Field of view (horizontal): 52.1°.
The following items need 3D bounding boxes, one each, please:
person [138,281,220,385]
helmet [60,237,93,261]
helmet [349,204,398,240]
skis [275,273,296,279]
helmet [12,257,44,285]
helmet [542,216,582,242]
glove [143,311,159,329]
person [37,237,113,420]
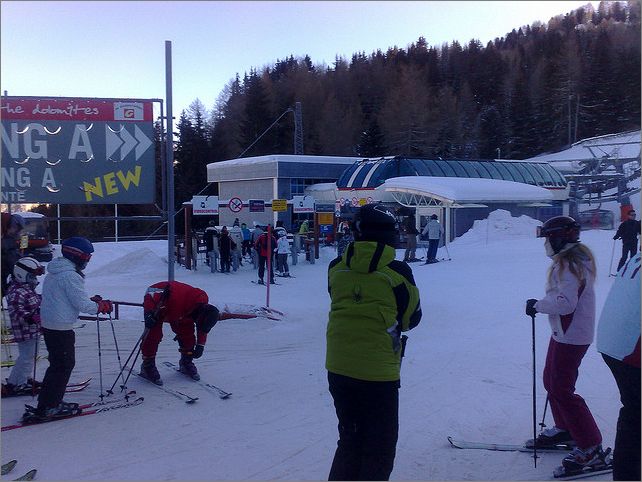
[{"bbox_3d":[-2.050,1.286,9.412,1.281,1.368,1.042,6,-2,10],"label":"person"},{"bbox_3d":[-3.026,0.085,8.171,0.362,0.284,0.272,-5,15,-29],"label":"helmet"},{"bbox_3d":[0.487,-0.187,6.233,0.390,0.348,0.319,-6,9,-8],"label":"helmet"},{"bbox_3d":[-1.175,1.136,21.308,0.666,0.279,0.207,-2,3,24],"label":"skis"},{"bbox_3d":[-3.800,0.374,8.569,0.408,0.384,0.308,-2,11,-15],"label":"helmet"},{"bbox_3d":[2.663,-0.148,7.245,0.358,0.264,0.274,-12,8,-3],"label":"helmet"},{"bbox_3d":[-2.267,1.041,8.647,0.171,0.231,0.214,13,18,-24],"label":"glove"},{"bbox_3d":[-3.124,1.054,8.092,0.721,2.186,0.715,3,9,11],"label":"person"}]
